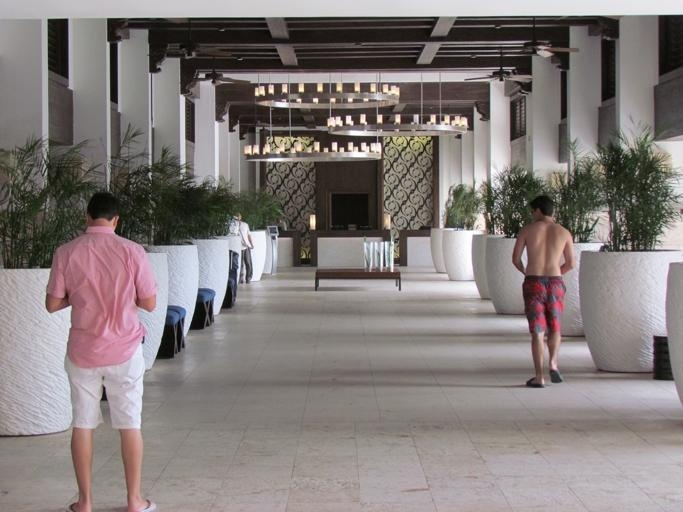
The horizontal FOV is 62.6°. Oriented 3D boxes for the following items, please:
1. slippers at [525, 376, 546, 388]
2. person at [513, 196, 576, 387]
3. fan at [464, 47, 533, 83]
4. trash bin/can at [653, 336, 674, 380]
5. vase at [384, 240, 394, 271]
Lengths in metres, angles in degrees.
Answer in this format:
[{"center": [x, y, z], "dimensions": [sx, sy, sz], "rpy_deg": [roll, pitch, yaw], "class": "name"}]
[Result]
[{"center": [1.773, 1.150, 5.143], "dimensions": [0.175, 0.080, 0.150], "rpy_deg": [1, 2, 19], "class": "slippers"}, {"center": [1.864, 0.304, 5.307], "dimensions": [0.527, 1.757, 0.418], "rpy_deg": [-2, 3, -31], "class": "person"}, {"center": [3.403, -3.979, 11.909], "dimensions": [1.152, 0.532, 1.187], "rpy_deg": [9, 11, 40], "class": "fan"}, {"center": [3.046, 0.966, 5.335], "dimensions": [0.158, 0.412, 0.105], "rpy_deg": [2, 4, 36], "class": "trash bin/can"}, {"center": [1.129, -0.009, 13.663], "dimensions": [0.193, 0.689, 0.527], "rpy_deg": [0, 3, 4], "class": "vase"}]
